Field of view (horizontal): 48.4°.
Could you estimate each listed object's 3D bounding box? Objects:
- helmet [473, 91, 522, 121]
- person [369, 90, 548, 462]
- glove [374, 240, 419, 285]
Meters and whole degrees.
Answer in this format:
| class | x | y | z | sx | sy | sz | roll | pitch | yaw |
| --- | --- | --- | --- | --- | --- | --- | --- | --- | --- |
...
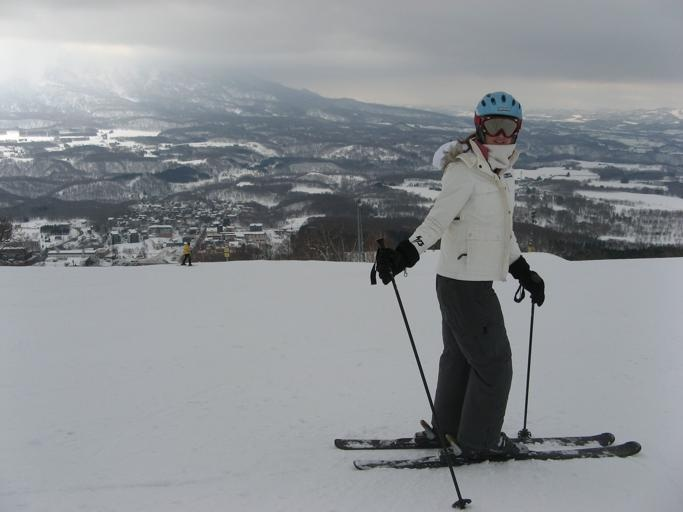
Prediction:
| class | x | y | z | sx | sy | sz | roll | pitch | yaw |
| --- | --- | --- | --- | --- | --- | --- | --- | --- | --- |
| helmet | 1.328 | -1.269 | 6.393 | 0.315 | 0.209 | 0.296 | -2 | 12 | -18 |
| person | 1.114 | 0.180 | 6.574 | 1.354 | 3.131 | 0.646 | 1 | 10 | -2 |
| glove | 0.456 | 0.035 | 6.403 | 0.305 | 0.404 | 0.163 | 3 | 5 | -2 |
